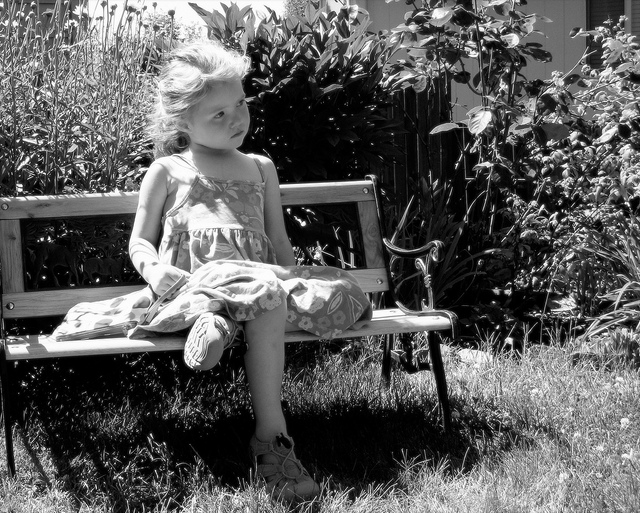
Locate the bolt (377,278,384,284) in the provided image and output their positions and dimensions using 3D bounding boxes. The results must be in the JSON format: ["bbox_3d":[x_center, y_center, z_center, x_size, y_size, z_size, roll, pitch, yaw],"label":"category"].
[{"bbox_3d":[0.275,0.106,2.640,0.022,0.025,0.006,-9,4,2],"label":"bolt"}]

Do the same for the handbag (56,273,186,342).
[{"bbox_3d":[-0.745,0.156,2.101,0.442,0.163,0.392,-4,21,12],"label":"handbag"}]

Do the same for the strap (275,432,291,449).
[{"bbox_3d":[-0.118,0.597,1.884,0.028,0.057,0.021,-20,-7,-26],"label":"strap"}]

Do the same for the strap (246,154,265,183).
[{"bbox_3d":[-0.259,-0.367,2.405,0.022,0.102,0.096,-13,44,-2],"label":"strap"}]

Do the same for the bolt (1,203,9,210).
[{"bbox_3d":[-1.262,-0.199,2.303,0.020,0.024,0.005,-4,-2,-12],"label":"bolt"}]

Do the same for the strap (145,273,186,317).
[{"bbox_3d":[-0.519,0.126,1.975,0.134,0.032,0.098,-49,11,-11],"label":"strap"}]

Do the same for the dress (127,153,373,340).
[{"bbox_3d":[-0.246,0.001,2.115,0.598,0.533,0.728,-2,7,-32],"label":"dress"}]

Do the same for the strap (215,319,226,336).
[{"bbox_3d":[-0.307,0.215,1.773,0.008,0.032,0.032,-36,13,-5],"label":"strap"}]

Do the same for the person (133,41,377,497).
[{"bbox_3d":[-0.315,-0.045,2.135,0.741,1.561,0.976,-8,11,-34],"label":"person"}]

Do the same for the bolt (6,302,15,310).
[{"bbox_3d":[-1.227,0.193,2.281,0.023,0.027,0.006,-3,5,-9],"label":"bolt"}]
